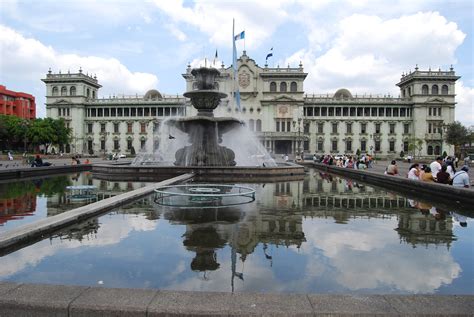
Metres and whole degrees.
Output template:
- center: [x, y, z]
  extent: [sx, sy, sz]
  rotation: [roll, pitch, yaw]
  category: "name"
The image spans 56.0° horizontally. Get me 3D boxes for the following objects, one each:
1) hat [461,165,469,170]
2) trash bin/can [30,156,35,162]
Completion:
- center: [8.670, 0.348, 16.895]
  extent: [0.341, 0.174, 0.518]
  rotation: [0, 6, 26]
  category: "hat"
- center: [-12.797, 0.080, 27.732]
  extent: [0.218, 0.356, 0.380]
  rotation: [1, -5, -9]
  category: "trash bin/can"
